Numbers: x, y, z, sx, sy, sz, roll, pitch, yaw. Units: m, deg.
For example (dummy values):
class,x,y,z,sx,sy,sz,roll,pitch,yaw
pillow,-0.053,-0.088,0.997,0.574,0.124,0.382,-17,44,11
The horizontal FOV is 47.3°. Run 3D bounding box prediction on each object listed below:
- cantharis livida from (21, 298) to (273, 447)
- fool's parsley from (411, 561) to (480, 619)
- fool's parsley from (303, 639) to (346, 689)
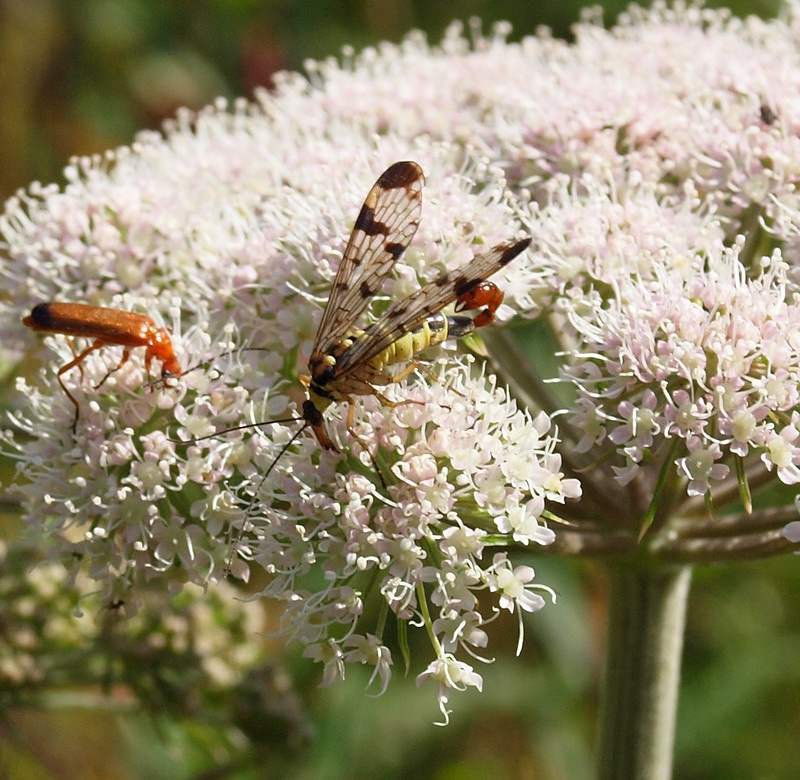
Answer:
class,x,y,z,sx,sy,sz,roll,pitch,yaw
cantharis livida,-0.855,-0.135,2.857,0.554,0.377,0.540,23,-10,-36
fool's parsley,0.139,0.551,2.514,0.178,0.153,0.072,-17,7,-4
fool's parsley,-0.199,0.767,2.611,0.069,0.150,0.140,-3,63,-40
